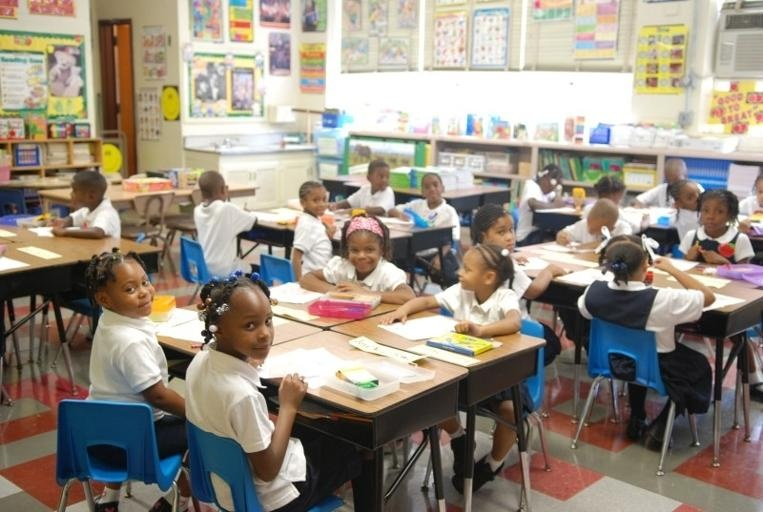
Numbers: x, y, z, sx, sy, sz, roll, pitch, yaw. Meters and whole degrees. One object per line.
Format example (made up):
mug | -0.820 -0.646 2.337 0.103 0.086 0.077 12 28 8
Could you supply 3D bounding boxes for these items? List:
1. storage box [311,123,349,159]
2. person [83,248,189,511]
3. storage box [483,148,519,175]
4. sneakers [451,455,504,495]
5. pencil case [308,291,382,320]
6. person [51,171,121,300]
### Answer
storage box | -0.865 -1.937 9.755 0.450 0.548 0.553 2 37 0
person | -1.116 0.661 2.685 0.411 1.326 0.569 -7 16 -22
storage box | 1.602 -1.306 8.221 0.387 0.239 0.374 8 15 34
sneakers | 0.537 1.158 3.198 0.298 0.173 0.265 -3 14 -9
pencil case | -0.206 0.227 3.288 0.221 0.047 0.198 -1 5 5
person | -2.281 -0.247 4.655 0.409 0.762 0.374 -10 20 -31
